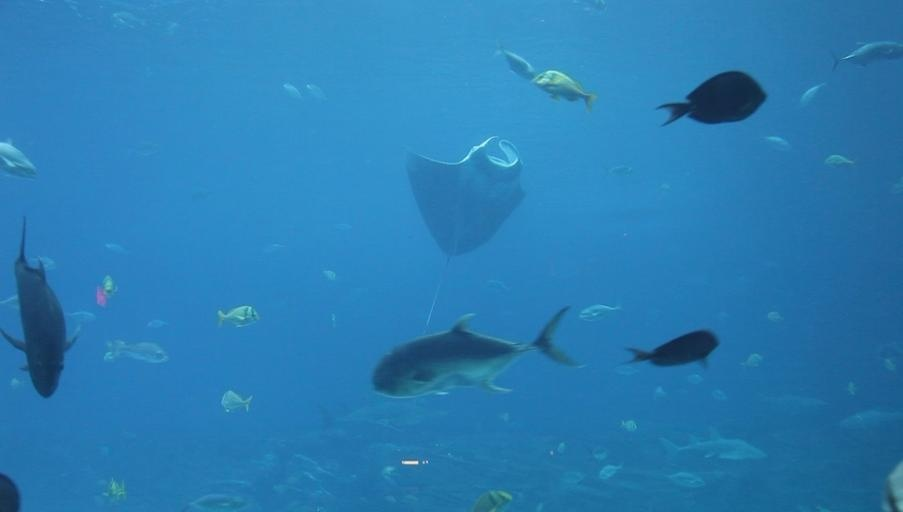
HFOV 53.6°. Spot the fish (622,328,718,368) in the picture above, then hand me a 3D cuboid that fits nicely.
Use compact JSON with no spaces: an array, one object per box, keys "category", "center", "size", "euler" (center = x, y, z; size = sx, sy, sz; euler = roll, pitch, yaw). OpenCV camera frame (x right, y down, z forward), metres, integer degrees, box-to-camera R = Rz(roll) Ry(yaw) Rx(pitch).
[{"category":"fish","center":[8.681,3.482,33.871],"size":[3.080,1.070,0.906],"euler":[-6,-35,4]}]

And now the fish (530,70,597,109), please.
[{"category":"fish","center":[4.429,-6.718,35.553],"size":[2.214,1.900,0.749],"euler":[7,-37,-16]}]

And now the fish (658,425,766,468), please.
[{"category":"fish","center":[12.107,8.600,40.787],"size":[5.474,1.933,1.515],"euler":[1,-40,6]}]

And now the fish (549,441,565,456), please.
[{"category":"fish","center":[4.875,8.643,40.307],"size":[0.543,0.088,0.507],"euler":[-14,2,-10]}]
